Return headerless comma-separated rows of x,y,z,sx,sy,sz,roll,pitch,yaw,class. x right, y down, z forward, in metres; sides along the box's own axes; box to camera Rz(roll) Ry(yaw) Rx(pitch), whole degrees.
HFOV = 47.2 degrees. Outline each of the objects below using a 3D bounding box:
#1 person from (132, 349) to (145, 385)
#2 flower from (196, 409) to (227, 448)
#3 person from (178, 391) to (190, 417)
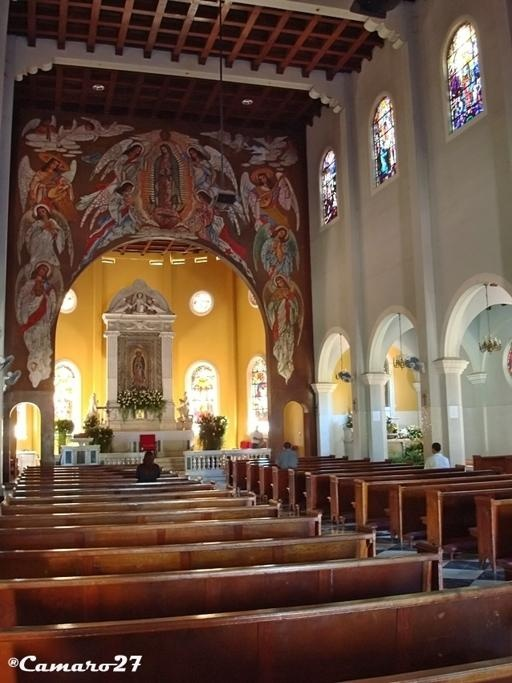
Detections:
-4.234,0.973,21.209,0.489,1.296,0.136,-1,-8,-13,person
-1.368,2.741,17.872,0.960,0.966,0.941,2,-15,-7,flower
-2.578,2.294,20.791,0.380,0.844,1.303,-2,-7,-6,person
